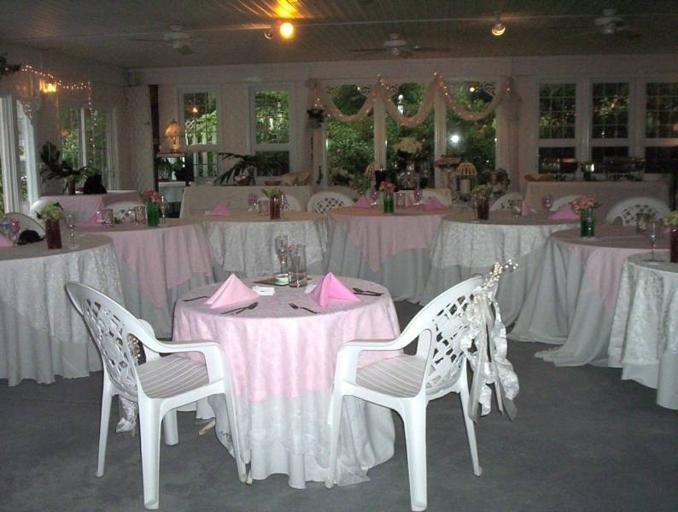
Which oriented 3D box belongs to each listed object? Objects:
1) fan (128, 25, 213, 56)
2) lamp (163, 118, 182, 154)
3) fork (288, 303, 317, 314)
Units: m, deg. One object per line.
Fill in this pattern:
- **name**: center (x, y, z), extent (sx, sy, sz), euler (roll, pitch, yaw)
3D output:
- **fan**: center (-2.334, -3.018, 7.890), extent (0.812, 0.245, 0.843), euler (0, 3, 7)
- **lamp**: center (-3.113, -2.246, 10.688), extent (0.325, 0.610, 0.480), euler (-4, 8, -16)
- **fork**: center (-0.173, 0.255, 2.761), extent (0.077, 0.027, 0.206), euler (-7, 8, -32)
